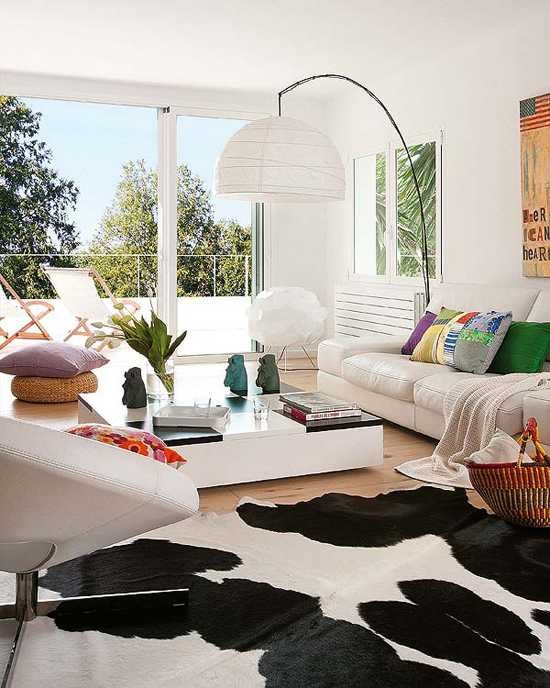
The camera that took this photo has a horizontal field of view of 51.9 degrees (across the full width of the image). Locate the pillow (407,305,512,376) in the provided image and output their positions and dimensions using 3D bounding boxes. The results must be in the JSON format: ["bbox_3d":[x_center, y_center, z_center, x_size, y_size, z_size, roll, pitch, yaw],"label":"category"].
[{"bbox_3d":[1.166,-0.051,3.560,0.327,0.295,0.742,-15,10,-12],"label":"pillow"}]

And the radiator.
[{"bbox_3d":[0.942,-0.349,5.657,0.930,0.492,0.090,-7,3,-17],"label":"radiator"}]

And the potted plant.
[{"bbox_3d":[-0.612,0.015,2.878,0.341,0.483,0.371,-6,12,32],"label":"potted plant"}]

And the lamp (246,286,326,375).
[{"bbox_3d":[0.136,-0.189,5.444,0.676,0.660,0.665,-7,23,-16],"label":"lamp"}]

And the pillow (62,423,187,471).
[{"bbox_3d":[-0.383,0.308,1.487,0.243,0.069,0.212,27,-6,-33],"label":"pillow"}]

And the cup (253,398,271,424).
[{"bbox_3d":[-0.042,0.321,2.671,0.077,0.100,0.068,1,-2,-28],"label":"cup"}]

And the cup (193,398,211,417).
[{"bbox_3d":[-0.333,0.300,2.601,0.068,0.072,0.066,-1,0,0],"label":"cup"}]
